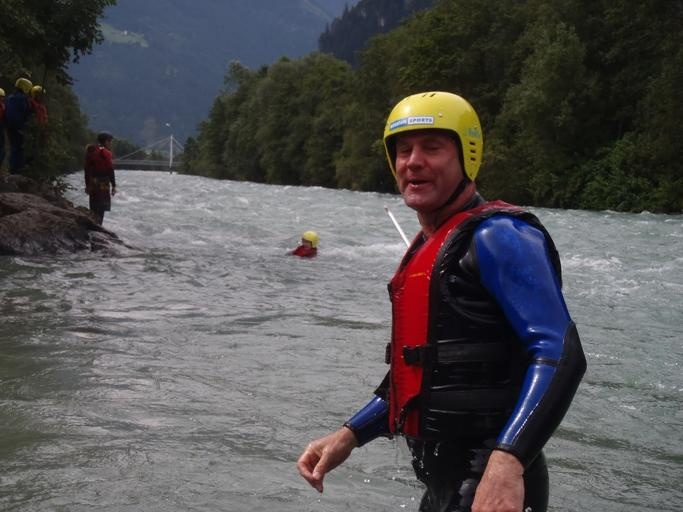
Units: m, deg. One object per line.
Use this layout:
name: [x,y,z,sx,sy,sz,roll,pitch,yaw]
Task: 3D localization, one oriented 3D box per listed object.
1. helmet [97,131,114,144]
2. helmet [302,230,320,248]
helmet: [-5.099,-2.524,18.502,0.317,0.320,0.349,-1,3,-4]
helmet: [-0.666,-0.352,19.109,0.319,0.314,0.416,9,2,42]
